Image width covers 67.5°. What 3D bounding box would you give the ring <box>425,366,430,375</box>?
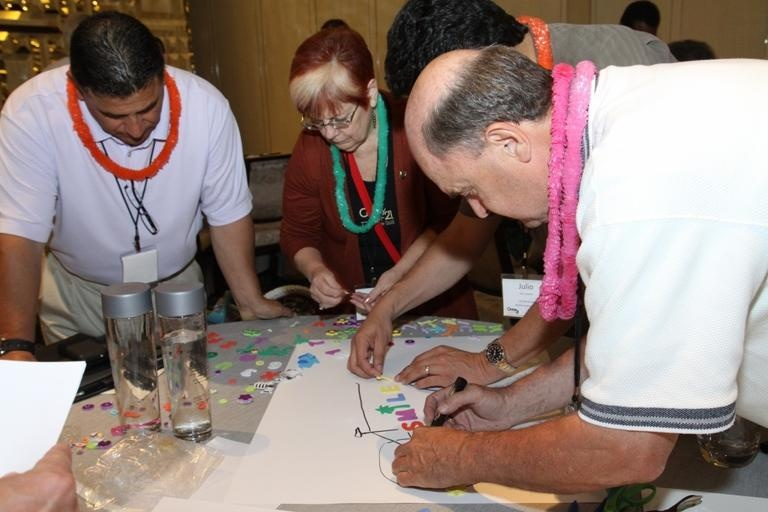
[{"bbox_3d":[0.143,0.383,1.922,0.019,0.020,0.020,-2,10,0],"label":"ring"}]

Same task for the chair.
[{"bbox_3d":[-1.011,-0.184,4.342,0.792,1.128,0.799,-7,10,-24],"label":"chair"}]

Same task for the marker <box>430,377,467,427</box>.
[{"bbox_3d":[0.198,0.453,1.764,0.050,0.040,0.159,23,63,29],"label":"marker"}]

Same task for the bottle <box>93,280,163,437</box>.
[{"bbox_3d":[-0.719,0.281,1.646,0.151,0.453,0.179,-13,26,-27],"label":"bottle"}]
